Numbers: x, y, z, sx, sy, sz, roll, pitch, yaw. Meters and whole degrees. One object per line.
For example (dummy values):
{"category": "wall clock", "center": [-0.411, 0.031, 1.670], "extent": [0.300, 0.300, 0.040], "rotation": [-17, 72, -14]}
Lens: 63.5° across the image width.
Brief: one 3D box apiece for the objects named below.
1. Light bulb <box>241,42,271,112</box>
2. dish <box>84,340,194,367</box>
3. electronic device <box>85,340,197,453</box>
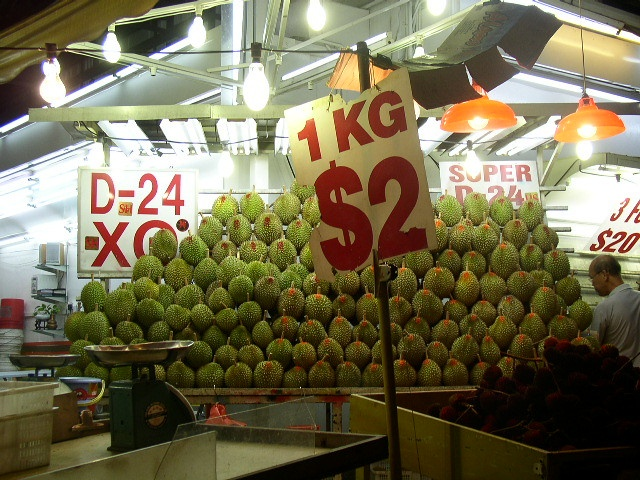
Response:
{"category": "Light bulb", "center": [-0.461, -1.189, 3.692], "extent": [0.171, 0.374, 0.527], "rotation": [-1, 0, -7]}
{"category": "dish", "center": [-0.911, 0.553, 2.533], "extent": [0.314, 0.082, 0.261], "rotation": [-1, -8, 2]}
{"category": "electronic device", "center": [-0.874, 0.740, 2.561], "extent": [0.422, 0.542, 0.445], "rotation": [-3, 0, -44]}
